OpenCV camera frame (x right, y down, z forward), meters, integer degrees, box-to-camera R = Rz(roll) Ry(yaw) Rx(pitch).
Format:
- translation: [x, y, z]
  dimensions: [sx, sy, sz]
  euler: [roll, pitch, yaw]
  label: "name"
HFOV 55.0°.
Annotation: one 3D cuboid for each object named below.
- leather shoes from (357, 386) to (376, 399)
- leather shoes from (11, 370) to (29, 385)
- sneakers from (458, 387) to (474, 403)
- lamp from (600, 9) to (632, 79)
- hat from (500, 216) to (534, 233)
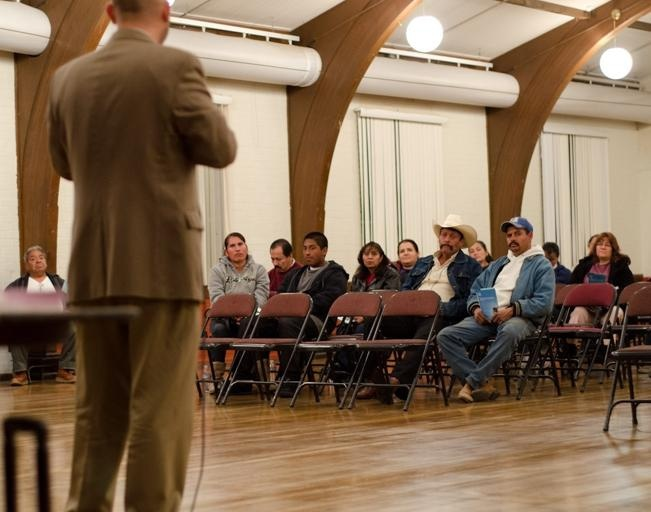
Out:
- translation: [0.407, 1.351, 6.180]
  dimensions: [0.085, 0.087, 0.200]
  euler: [-9, -13, 33]
  label: "leather shoes"
- translation: [-3.714, 1.480, 7.552]
  dimensions: [0.109, 0.208, 0.300]
  euler: [0, -21, 0]
  label: "leather shoes"
- translation: [1.276, 1.248, 5.668]
  dimensions: [0.085, 0.182, 0.188]
  euler: [-6, -39, 27]
  label: "sneakers"
- translation: [5.025, -3.466, 10.826]
  dimensions: [0.466, 1.040, 1.457]
  euler: [2, -1, 25]
  label: "lamp"
- translation: [1.945, -0.326, 6.355]
  dimensions: [0.282, 0.171, 0.593]
  euler: [3, -1, 22]
  label: "hat"
